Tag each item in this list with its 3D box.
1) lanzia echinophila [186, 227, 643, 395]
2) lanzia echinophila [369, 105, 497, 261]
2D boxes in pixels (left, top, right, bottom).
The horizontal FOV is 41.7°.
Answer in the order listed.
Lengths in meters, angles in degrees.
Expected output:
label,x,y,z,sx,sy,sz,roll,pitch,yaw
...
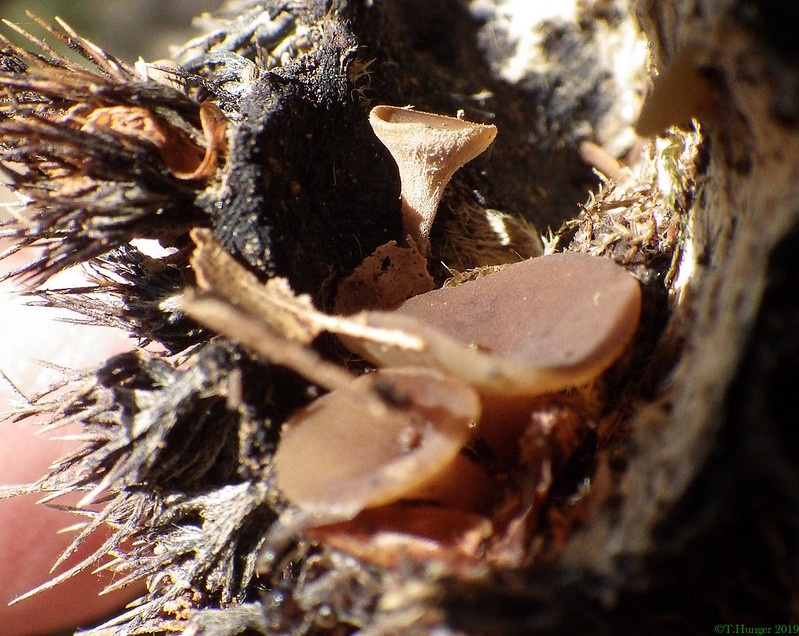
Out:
label,x,y,z,sx,sy,sz,roll,pitch,yaw
lanzia echinophila,0.037,0.009,1.046,0.333,0.107,0.220,-3,35,-3
lanzia echinophila,0.024,-0.157,1.263,0.140,0.178,0.149,10,23,10
